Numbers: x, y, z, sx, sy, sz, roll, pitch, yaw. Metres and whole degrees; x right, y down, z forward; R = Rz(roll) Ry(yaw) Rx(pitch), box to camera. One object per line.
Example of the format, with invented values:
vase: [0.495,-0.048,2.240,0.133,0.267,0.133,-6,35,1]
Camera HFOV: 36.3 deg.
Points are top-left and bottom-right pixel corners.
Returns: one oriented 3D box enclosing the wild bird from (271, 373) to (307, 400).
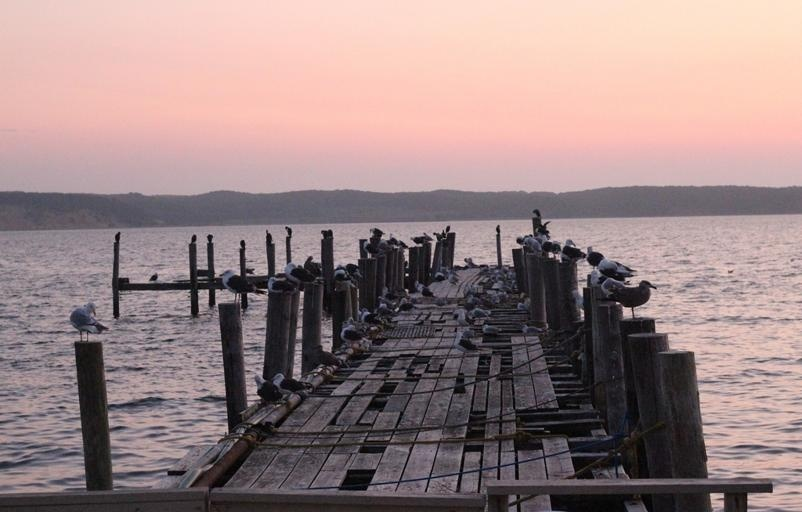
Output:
wild bird: [-3.337,3.774,36.742,1.349,0.585,0.518,-8,-1,13]
